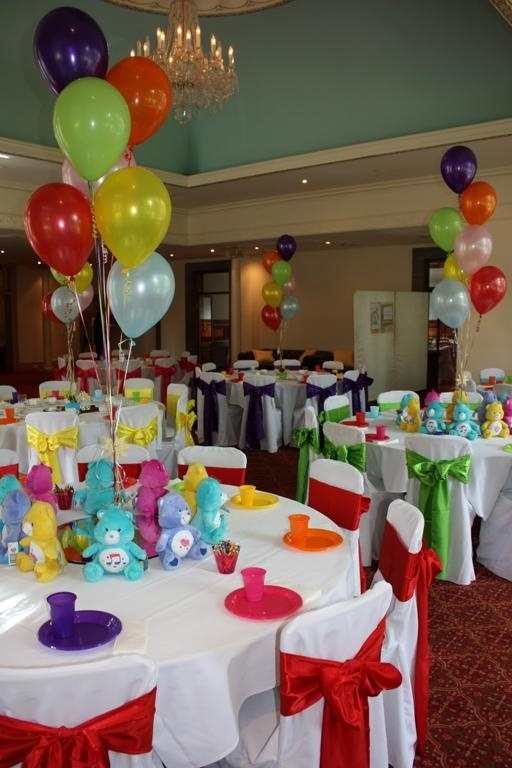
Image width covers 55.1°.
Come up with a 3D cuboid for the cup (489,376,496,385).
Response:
[{"bbox_3d":[3.016,-0.045,6.260,0.105,0.114,0.199,0,0,12],"label":"cup"}]
